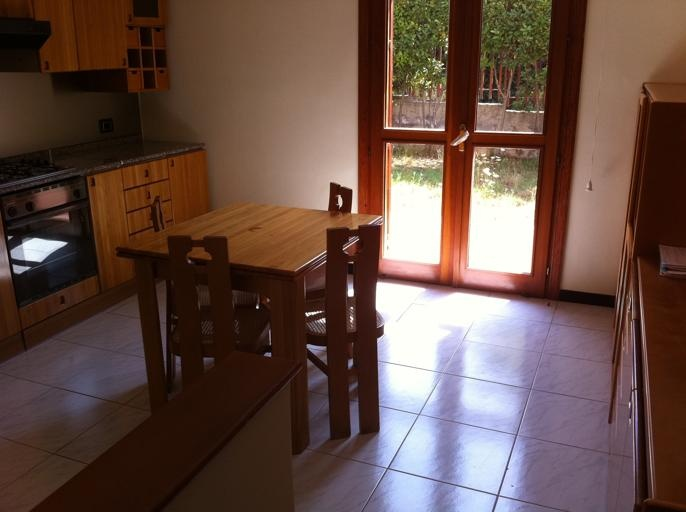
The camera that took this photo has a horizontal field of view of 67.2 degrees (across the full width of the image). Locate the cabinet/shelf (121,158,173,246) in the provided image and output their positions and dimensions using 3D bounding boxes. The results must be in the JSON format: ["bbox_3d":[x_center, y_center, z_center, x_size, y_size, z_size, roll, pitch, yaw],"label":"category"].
[{"bbox_3d":[-1.571,-0.439,4.082,0.290,0.645,0.632,4,14,18],"label":"cabinet/shelf"}]

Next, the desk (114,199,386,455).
[{"bbox_3d":[-0.701,0.493,3.073,0.986,1.024,1.312,8,-1,-8],"label":"desk"}]
